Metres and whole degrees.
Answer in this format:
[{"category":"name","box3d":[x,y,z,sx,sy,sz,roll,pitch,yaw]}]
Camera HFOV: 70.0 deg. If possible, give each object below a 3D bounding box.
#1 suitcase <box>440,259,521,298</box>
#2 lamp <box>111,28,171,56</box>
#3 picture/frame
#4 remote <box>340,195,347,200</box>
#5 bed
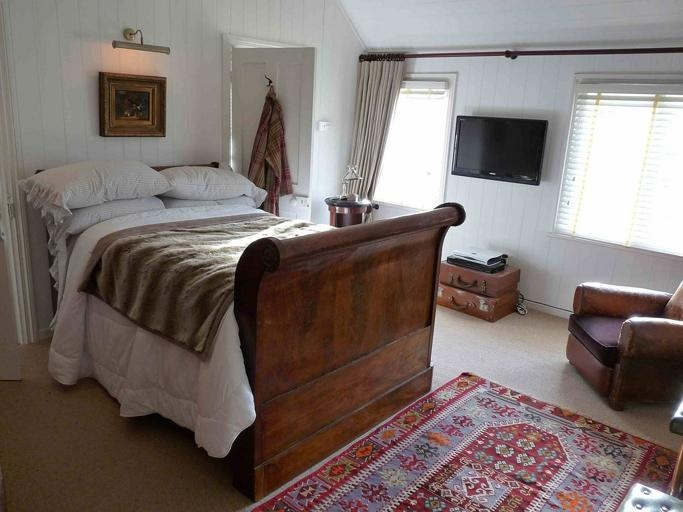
[{"category":"suitcase","box3d":[1.385,0.220,4.697,0.449,0.196,0.512,-10,17,-40]},{"category":"lamp","box3d":[-1.615,-1.742,3.946,0.460,0.183,0.233,-9,21,-30]},{"category":"picture/frame","box3d":[-1.750,-1.249,3.994,0.543,0.485,0.061,-10,15,-43]},{"category":"remote","box3d":[0.017,-0.579,4.886,0.045,0.032,0.046,-3,11,-12]},{"category":"bed","box3d":[-0.470,0.025,3.479,1.476,1.576,2.210,-16,37,-30]}]
